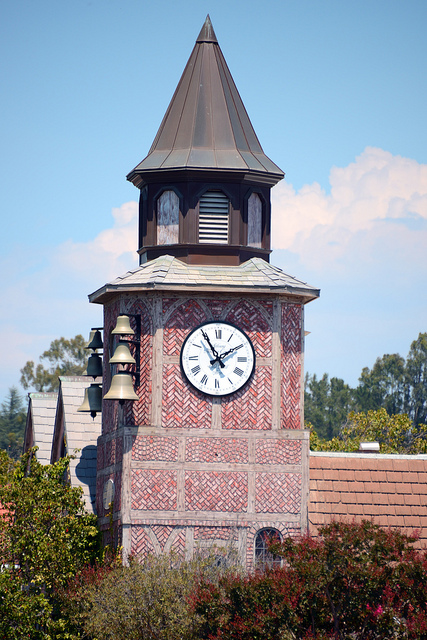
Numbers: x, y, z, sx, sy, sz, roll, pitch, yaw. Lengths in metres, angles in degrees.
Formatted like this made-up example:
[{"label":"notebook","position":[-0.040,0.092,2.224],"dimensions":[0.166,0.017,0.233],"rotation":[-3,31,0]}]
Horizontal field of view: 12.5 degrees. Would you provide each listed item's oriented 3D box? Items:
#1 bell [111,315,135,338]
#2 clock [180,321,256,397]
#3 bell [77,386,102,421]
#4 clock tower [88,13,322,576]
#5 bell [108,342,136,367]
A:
[{"label":"bell","position":[-1.866,0.039,39.556],"dimensions":[0.298,0.449,0.366],"rotation":[0,-9,-7]},{"label":"clock","position":[0.064,0.685,40.113],"dimensions":[1.491,1.497,0.215],"rotation":[2,-4,-8]},{"label":"bell","position":[-2.788,1.666,43.016],"dimensions":[0.453,0.756,0.562],"rotation":[1,-14,-4]},{"label":"clock tower","position":[-0.162,-0.096,41.071],"dimensions":[4.409,10.065,3.607],"rotation":[1,-4,-2]},{"label":"bell","position":[-1.869,0.597,39.332],"dimensions":[0.338,0.501,0.417],"rotation":[0,-10,-4]}]
